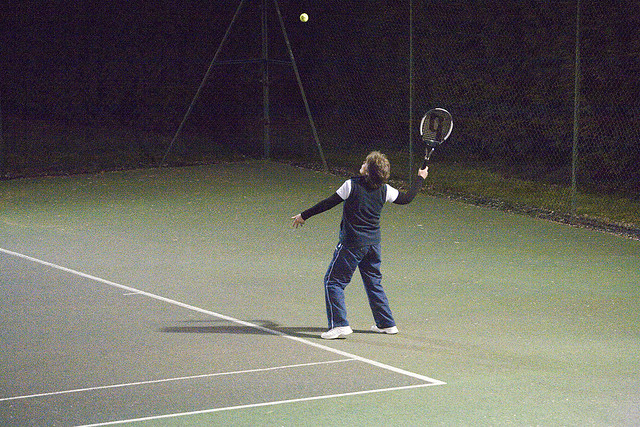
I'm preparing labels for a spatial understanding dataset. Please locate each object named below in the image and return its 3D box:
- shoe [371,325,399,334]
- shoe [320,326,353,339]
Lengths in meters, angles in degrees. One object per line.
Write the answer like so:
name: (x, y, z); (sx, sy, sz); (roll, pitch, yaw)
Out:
shoe: (0.759, 1.361, 7.597); (0.290, 0.138, 0.112); (3, 1, 8)
shoe: (0.196, 1.391, 7.549); (0.361, 0.160, 0.136); (-5, 4, -9)
